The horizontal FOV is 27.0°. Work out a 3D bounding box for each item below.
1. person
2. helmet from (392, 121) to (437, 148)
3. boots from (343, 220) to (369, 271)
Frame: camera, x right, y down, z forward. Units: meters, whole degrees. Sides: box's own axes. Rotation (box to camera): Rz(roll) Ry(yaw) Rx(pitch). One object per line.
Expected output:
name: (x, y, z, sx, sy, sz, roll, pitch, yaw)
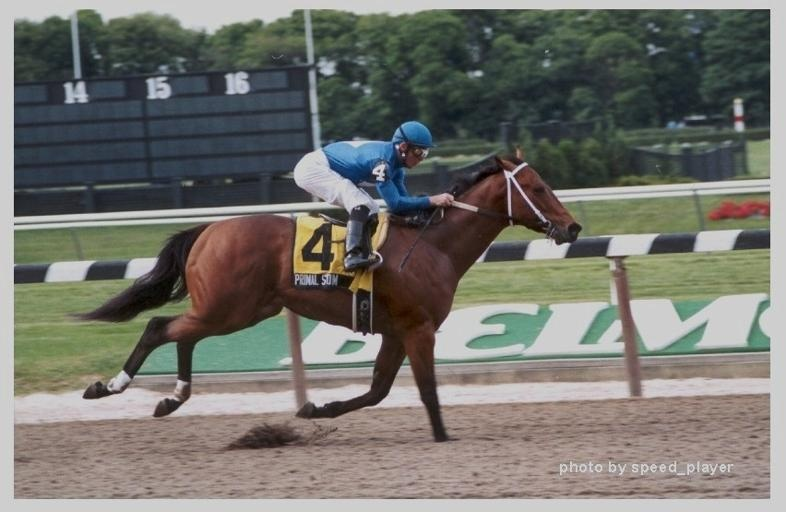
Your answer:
person: (-0.050, -0.502, 12.968, 0.712, 1.168, 1.609, -20, 22, -41)
helmet: (0.172, -0.947, 12.852, 0.336, 0.132, 0.199, 1, 20, -2)
boots: (-0.275, -0.066, 12.665, 0.216, 0.374, 0.120, -3, 6, -9)
